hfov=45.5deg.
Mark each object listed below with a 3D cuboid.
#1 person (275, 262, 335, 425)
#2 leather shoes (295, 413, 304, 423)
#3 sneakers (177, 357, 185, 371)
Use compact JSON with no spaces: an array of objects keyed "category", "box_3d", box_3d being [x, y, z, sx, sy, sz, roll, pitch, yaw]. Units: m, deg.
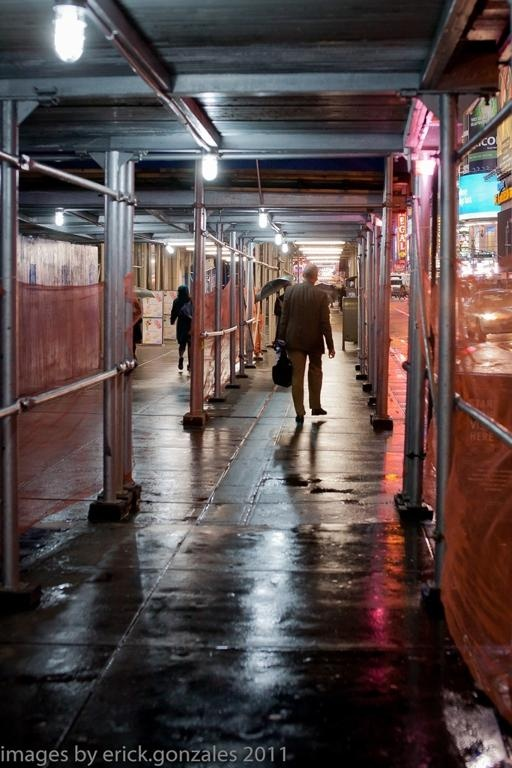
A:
[{"category":"person","box_3d":[0.752,-0.624,9.386,0.844,2.473,1.100,2,1,4]},{"category":"leather shoes","box_3d":[0.666,0.541,9.309,0.121,0.188,0.103,0,-9,8]},{"category":"sneakers","box_3d":[-2.041,-0.487,16.562,0.143,0.465,0.177,2,-1,0]}]
